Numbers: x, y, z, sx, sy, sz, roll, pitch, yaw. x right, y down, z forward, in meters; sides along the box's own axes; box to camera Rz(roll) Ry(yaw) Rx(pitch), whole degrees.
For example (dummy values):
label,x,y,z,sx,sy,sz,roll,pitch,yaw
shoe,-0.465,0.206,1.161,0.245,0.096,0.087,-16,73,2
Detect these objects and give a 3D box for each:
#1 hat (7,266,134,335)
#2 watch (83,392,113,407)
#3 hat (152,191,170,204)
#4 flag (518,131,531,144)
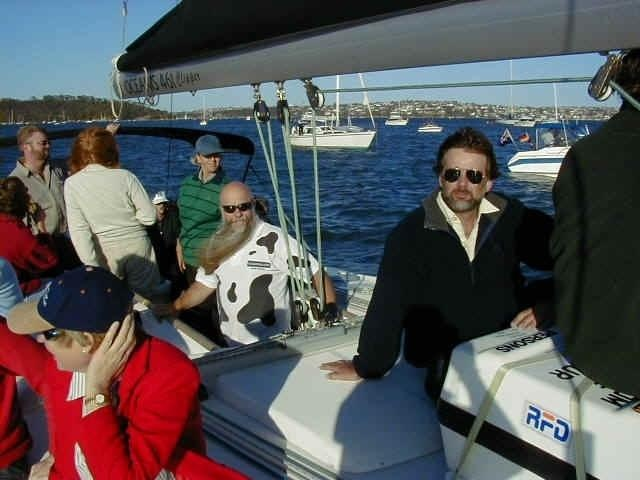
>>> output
label,x,y,z,sx,sy,sz,roll,pitch,yaw
hat,-0.816,0.222,1.640,0.350,0.177,0.220,9,31,-24
watch,-0.698,0.505,1.557,0.074,0.041,0.066,-5,-15,-18
hat,-1.787,-0.463,5.583,0.208,0.167,0.329,1,-3,-27
flag,6.441,-3.190,15.484,0.369,0.262,0.400,5,7,15
